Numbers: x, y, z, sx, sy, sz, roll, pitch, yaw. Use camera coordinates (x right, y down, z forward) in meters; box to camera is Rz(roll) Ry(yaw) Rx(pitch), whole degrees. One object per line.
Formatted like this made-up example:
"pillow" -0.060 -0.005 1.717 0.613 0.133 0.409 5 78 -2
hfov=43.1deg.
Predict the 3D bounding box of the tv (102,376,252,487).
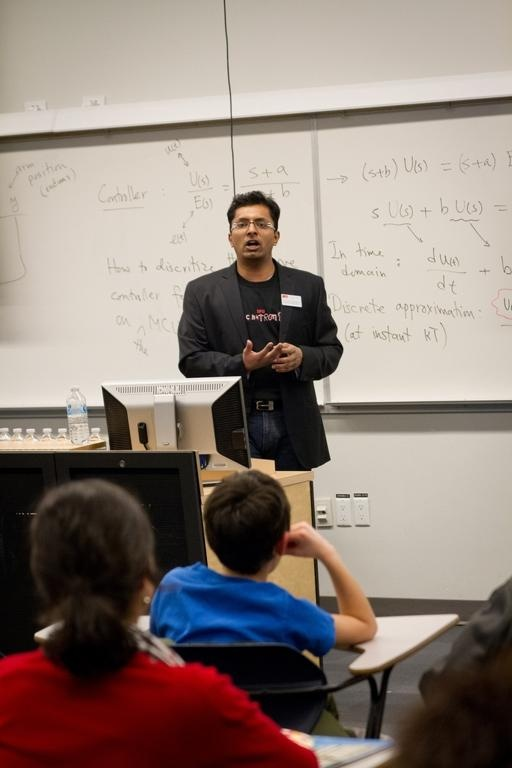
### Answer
"tv" -0.227 0.139 1.894 0.346 0.241 0.092 -1 10 9
